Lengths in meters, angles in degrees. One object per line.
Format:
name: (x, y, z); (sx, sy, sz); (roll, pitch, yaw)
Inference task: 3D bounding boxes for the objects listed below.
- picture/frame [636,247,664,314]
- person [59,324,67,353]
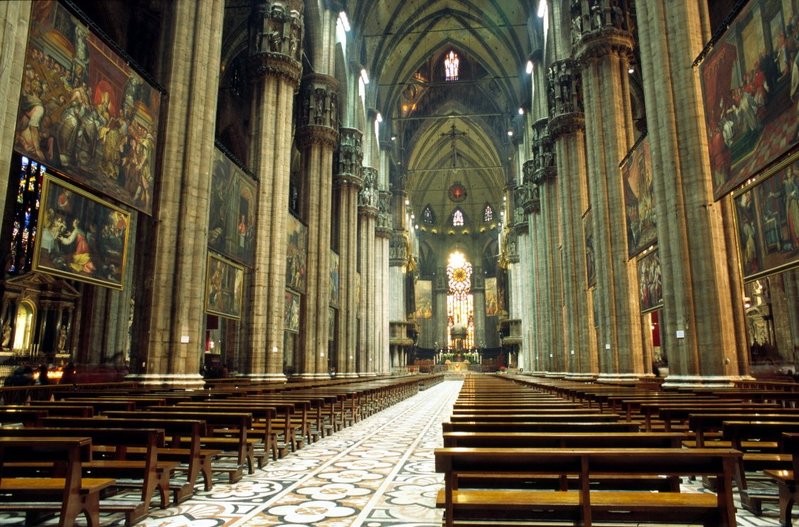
picture/frame: (8.493, 0.556, 21.528); (0.237, 2.048, 2.747); (0, 3, 37)
person: (-13.478, 2.988, 25.595); (0.432, 1.146, 0.283); (7, -17, -28)
